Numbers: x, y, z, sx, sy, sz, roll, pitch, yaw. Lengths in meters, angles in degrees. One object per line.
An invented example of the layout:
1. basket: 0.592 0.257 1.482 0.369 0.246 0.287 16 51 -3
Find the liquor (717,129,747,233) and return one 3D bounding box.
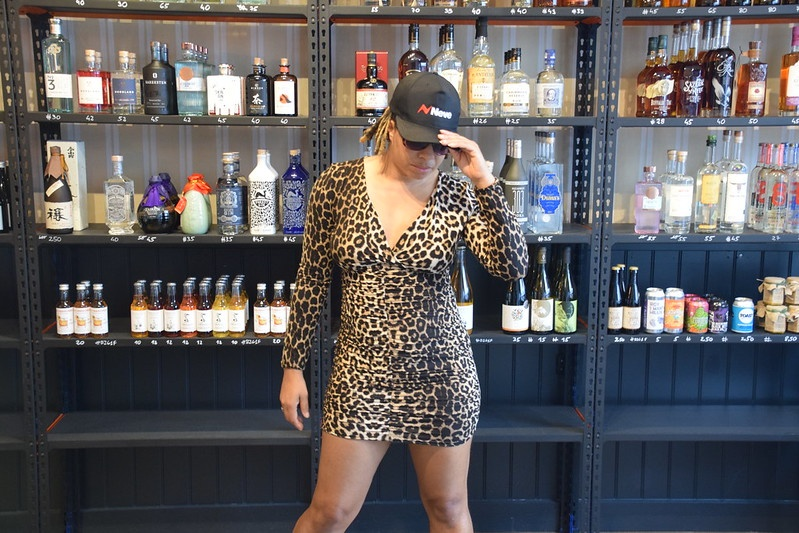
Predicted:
1. liquor: 1.651 -0.413 4.015 0.124 0.492 0.345 2 4 23

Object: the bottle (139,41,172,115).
1. bottle: -1.132 -0.879 3.793 0.145 0.343 0.119 0 3 -17

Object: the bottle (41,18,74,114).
1. bottle: -1.620 -0.941 3.818 0.123 0.449 0.260 -1 4 -25

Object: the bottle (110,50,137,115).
1. bottle: -1.296 -0.852 3.834 0.145 0.324 0.124 -1 -14 -20

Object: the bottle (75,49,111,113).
1. bottle: -1.439 -0.871 3.810 0.143 0.300 0.105 -1 3 -20
